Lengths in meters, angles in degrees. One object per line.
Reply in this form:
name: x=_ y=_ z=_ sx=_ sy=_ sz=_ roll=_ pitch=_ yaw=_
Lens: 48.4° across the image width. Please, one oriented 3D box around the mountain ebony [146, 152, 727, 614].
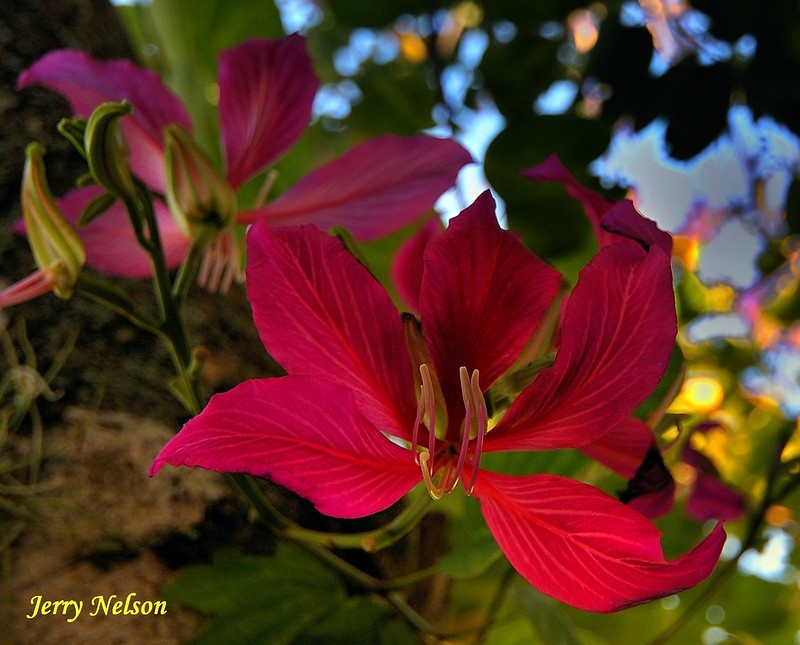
mountain ebony: x=0.085 y=0.079 z=0.682 sx=0.101 sy=0.336 sz=0.329 roll=40 pitch=59 yaw=-19
